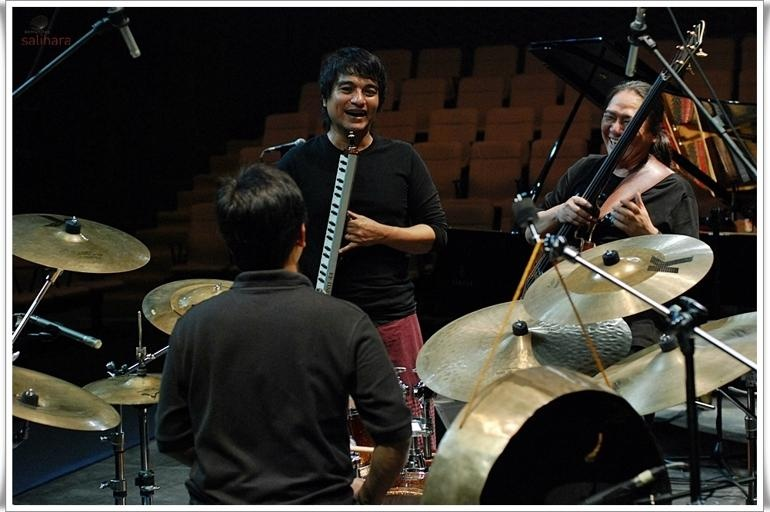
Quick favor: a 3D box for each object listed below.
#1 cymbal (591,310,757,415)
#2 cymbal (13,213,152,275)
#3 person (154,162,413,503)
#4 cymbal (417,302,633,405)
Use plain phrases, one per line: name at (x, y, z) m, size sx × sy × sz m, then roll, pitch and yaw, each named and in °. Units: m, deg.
cymbal at (1.108, 0.364, 2.523) m, size 0.632 × 0.341 × 0.376 m, roll 2°, pitch 7°, yaw -34°
cymbal at (-1.336, -0.051, 2.998) m, size 0.388 × 0.081 × 0.366 m, roll 3°, pitch 27°, yaw -39°
person at (-0.304, 0.403, 2.033) m, size 0.759 × 0.720 × 0.235 m, roll 7°, pitch 6°, yaw 9°
cymbal at (0.443, 0.350, 2.544) m, size 0.516 × 0.097 × 0.508 m, roll 9°, pitch 26°, yaw 39°
